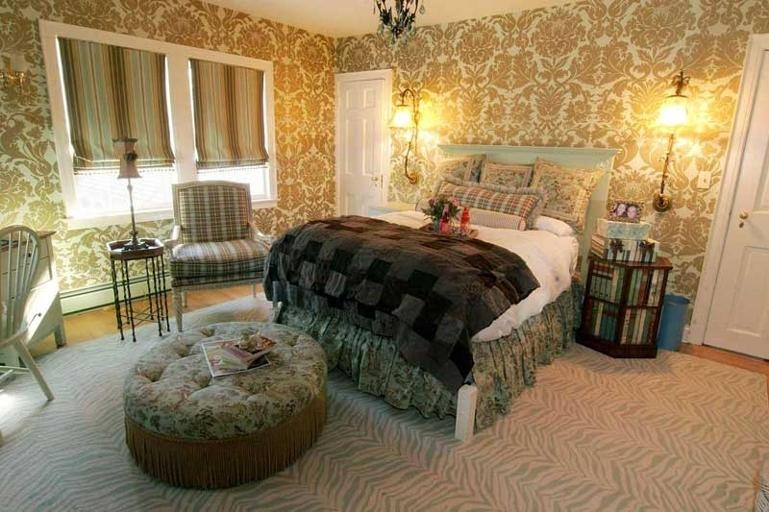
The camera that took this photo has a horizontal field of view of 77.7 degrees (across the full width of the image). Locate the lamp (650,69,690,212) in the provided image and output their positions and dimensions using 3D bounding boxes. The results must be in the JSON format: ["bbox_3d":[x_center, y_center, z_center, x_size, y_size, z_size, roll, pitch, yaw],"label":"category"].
[{"bbox_3d":[2.694,-1.050,4.520,0.256,1.311,0.141,9,16,27],"label":"lamp"}]

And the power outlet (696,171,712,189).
[{"bbox_3d":[2.978,-0.708,4.441,0.022,0.209,0.144,-6,10,-41],"label":"power outlet"}]

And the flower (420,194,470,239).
[{"bbox_3d":[0.617,-0.358,4.552,0.438,0.398,0.405,9,15,33],"label":"flower"}]

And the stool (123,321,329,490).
[{"bbox_3d":[-0.997,1.000,3.235,1.123,0.460,1.109,-11,23,-35],"label":"stool"}]

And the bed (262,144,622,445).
[{"bbox_3d":[0.919,-0.340,4.299,2.285,1.741,2.642,13,32,27],"label":"bed"}]

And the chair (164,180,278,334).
[{"bbox_3d":[-1.702,0.042,4.823,1.227,1.717,1.009,-6,17,-25],"label":"chair"}]
